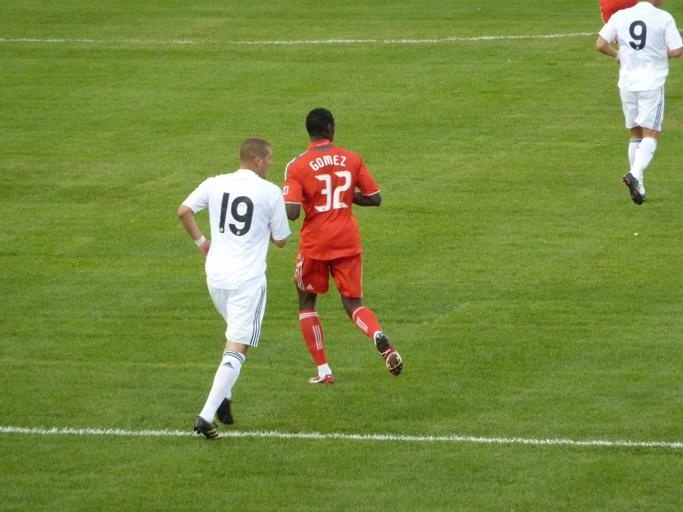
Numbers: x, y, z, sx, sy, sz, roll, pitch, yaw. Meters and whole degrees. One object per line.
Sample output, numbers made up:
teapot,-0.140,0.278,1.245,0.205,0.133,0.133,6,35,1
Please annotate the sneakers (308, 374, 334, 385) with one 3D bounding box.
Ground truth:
sneakers,-0.240,1.528,22.746,0.324,0.120,0.120,3,2,8

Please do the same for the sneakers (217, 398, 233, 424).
sneakers,-1.375,1.855,21.900,0.214,0.309,0.133,-9,9,-3

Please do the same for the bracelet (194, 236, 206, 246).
bracelet,-1.659,-0.147,21.905,0.130,0.092,0.128,-16,29,53

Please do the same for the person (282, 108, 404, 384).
person,-0.130,-0.085,22.434,1.089,3.354,0.744,-1,10,0

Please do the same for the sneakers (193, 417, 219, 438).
sneakers,-1.569,2.018,21.600,0.194,0.144,0.340,-4,-13,28

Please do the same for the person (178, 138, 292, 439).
person,-1.225,0.367,21.807,1.270,3.431,0.738,-6,11,-26
